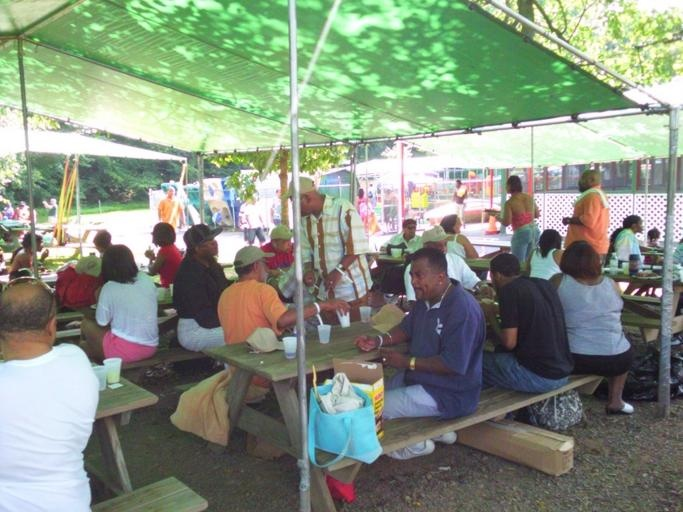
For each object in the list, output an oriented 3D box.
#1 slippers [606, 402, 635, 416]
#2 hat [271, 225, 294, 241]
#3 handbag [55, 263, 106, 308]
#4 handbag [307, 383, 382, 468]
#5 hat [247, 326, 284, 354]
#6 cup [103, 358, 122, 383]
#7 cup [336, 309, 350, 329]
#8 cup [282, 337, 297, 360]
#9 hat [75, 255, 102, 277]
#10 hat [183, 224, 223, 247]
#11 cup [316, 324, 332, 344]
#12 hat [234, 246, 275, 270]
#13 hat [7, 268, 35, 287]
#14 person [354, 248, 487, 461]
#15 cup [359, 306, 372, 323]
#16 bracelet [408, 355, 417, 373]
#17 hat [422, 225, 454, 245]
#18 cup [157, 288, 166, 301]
[{"bbox_3d":[2.598,1.429,5.288,0.201,0.078,0.116,-6,4,1],"label":"slippers"},{"bbox_3d":[-0.771,-0.283,7.411,0.236,0.147,0.174,-8,5,32],"label":"hat"},{"bbox_3d":[-3.056,0.307,6.720,0.418,0.225,0.546,9,23,17],"label":"handbag"},{"bbox_3d":[0.078,1.109,3.871,0.479,0.429,0.497,-1,11,33],"label":"handbag"},{"bbox_3d":[-0.575,0.636,4.299,0.262,0.168,0.127,-4,13,-16],"label":"hat"},{"bbox_3d":[-1.564,0.793,3.966,0.157,0.178,0.156,-2,-4,0],"label":"cup"},{"bbox_3d":[0.024,0.531,4.798,0.136,0.163,0.142,-8,-5,-1],"label":"cup"},{"bbox_3d":[-0.367,0.683,4.190,0.141,0.160,0.148,-2,0,0],"label":"cup"},{"bbox_3d":[-3.012,0.107,6.789,0.210,0.121,0.303,3,11,-17],"label":"hat"},{"bbox_3d":[-1.420,-0.215,5.784,0.338,0.250,0.372,-4,13,-16],"label":"hat"},{"bbox_3d":[-0.128,0.634,4.541,0.124,0.136,0.129,0,-1,0],"label":"cup"},{"bbox_3d":[-0.727,0.004,4.687,0.233,0.131,0.151,-14,13,-27],"label":"hat"},{"bbox_3d":[-3.316,0.215,5.878,0.169,0.180,0.229,-2,-7,-4],"label":"hat"},{"bbox_3d":[0.665,0.568,4.252,0.763,1.235,0.589,4,14,19],"label":"person"},{"bbox_3d":[0.217,0.525,5.104,0.112,0.110,0.118,-1,3,0],"label":"cup"},{"bbox_3d":[0.547,0.816,4.262,0.056,0.092,0.089,3,-31,11],"label":"bracelet"},{"bbox_3d":[1.062,-0.231,6.442,0.184,0.101,0.262,-8,-2,-34],"label":"hat"},{"bbox_3d":[-2.202,0.470,6.861,0.128,0.157,0.133,1,-3,0],"label":"cup"}]
